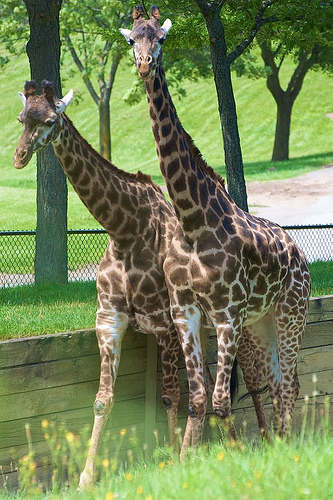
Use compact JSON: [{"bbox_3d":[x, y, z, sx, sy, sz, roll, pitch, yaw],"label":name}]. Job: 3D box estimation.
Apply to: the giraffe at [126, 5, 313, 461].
[{"bbox_3d":[0.453,-0.160,5.372,1.086,2.661,2.303,-4,2,5],"label":"giraffe"}]
